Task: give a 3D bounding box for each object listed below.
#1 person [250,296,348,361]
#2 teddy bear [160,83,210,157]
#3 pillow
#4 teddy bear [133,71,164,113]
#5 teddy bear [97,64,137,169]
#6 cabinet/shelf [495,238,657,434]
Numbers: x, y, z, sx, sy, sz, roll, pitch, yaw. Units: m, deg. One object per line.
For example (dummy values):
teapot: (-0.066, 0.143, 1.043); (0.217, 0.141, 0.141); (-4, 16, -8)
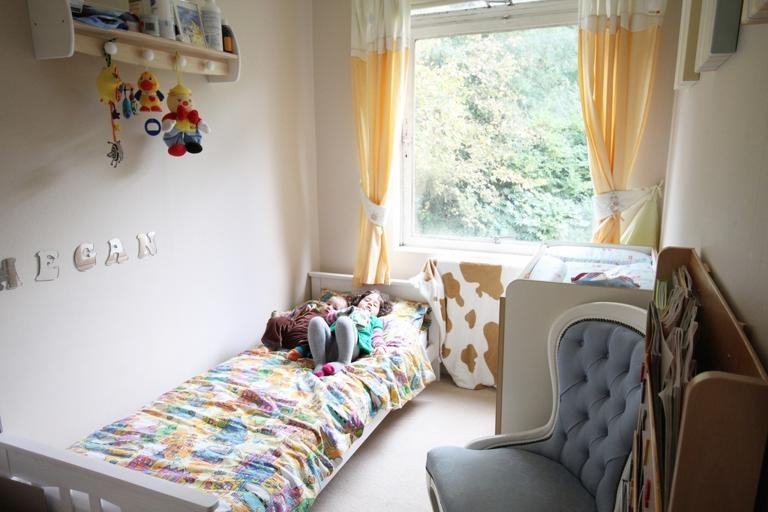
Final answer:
person: (-0.593, 0.504, 3.467); (0.355, 0.236, 0.756); (10, 11, 25)
teddy bear: (-1.098, -0.731, 2.791); (0.220, 0.370, 0.200); (-4, 21, -26)
pillow: (-0.127, 0.417, 3.581); (0.312, 0.145, 0.394); (17, 34, 16)
teddy bear: (-1.228, -0.850, 2.659); (0.144, 0.198, 0.120); (1, 15, -6)
teddy bear: (-1.376, -0.718, 2.645); (0.175, 0.511, 0.267); (-8, 15, -24)
cabinet/shelf: (1.017, 0.305, 2.821); (0.810, 0.958, 1.286); (1, 9, 22)
